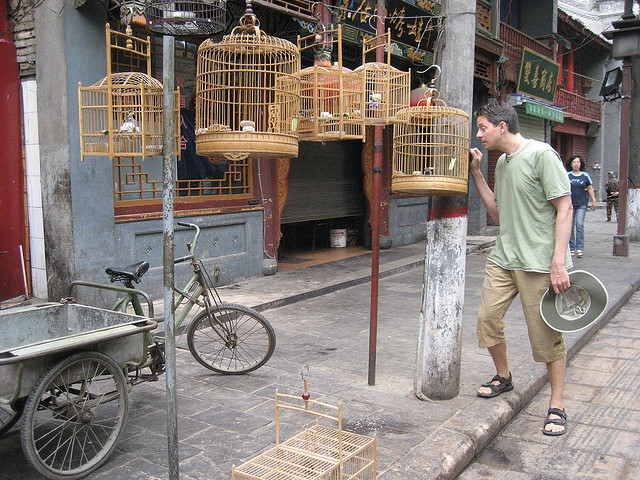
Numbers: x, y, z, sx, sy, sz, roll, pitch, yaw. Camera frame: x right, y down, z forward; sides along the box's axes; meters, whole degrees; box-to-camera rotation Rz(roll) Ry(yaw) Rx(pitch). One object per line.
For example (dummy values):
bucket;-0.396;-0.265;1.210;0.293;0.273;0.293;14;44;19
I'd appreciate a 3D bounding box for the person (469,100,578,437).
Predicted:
person;1.842;0.170;5.471;0.867;2.788;1.279;3;11;23

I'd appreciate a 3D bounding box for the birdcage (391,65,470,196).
birdcage;0.953;-0.808;5.230;0.616;1.262;0.608;9;12;33

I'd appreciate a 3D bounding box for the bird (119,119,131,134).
bird;-2.332;-1.347;7.254;0.129;0.167;0.322;-5;11;-18

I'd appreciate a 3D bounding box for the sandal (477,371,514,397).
sandal;1.614;1.319;5.577;0.400;0.151;0.142;-2;4;-34

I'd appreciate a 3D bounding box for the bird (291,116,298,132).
bird;-0.261;-1.203;6.320;0.068;0.161;0.155;-2;10;-3

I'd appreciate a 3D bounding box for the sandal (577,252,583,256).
sandal;5.212;0.286;12.139;0.083;0.061;0.136;3;11;22

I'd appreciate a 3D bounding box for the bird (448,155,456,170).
bird;1.098;-0.639;5.011;0.055;0.114;0.144;1;10;12

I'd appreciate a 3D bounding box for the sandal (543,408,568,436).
sandal;2.043;1.519;5.220;0.175;0.201;0.344;4;12;29
